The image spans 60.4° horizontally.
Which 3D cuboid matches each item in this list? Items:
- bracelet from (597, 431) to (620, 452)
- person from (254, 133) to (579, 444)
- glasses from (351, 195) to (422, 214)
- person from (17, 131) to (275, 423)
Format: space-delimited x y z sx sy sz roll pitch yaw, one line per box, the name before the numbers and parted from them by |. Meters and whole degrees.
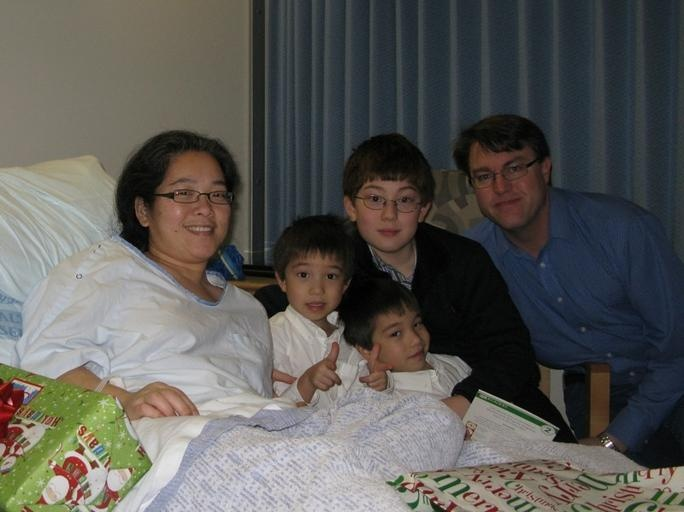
bracelet | 0.957 0.660 2.108 0.085 0.058 0.043 -5 8 -4
person | 0.407 0.031 2.237 0.450 1.048 0.892 -10 10 -37
glasses | 0.179 -0.200 2.256 0.237 0.081 0.077 -4 8 3
person | -0.545 0.048 1.965 0.521 0.906 0.919 0 -5 31
